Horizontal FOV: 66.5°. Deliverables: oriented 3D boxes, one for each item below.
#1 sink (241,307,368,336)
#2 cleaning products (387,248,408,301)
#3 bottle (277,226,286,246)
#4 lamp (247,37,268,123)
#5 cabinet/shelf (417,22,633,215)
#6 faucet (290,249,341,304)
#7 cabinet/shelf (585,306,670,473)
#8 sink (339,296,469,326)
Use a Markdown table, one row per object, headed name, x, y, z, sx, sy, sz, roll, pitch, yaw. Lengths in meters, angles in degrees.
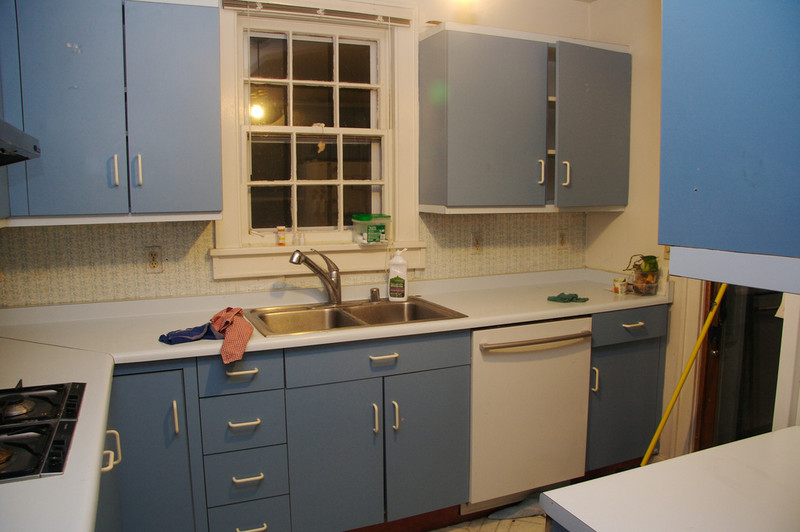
| name | x | y | z | sx | sy | sz | roll | pitch | yaw |
| --- | --- | --- | --- | --- | --- | --- | --- | --- | --- |
| sink | -0.516 | 0.289 | 3.274 | 0.333 | 0.128 | 0.276 | 0 | 4 | -27 |
| cleaning products | -0.016 | 0.057 | 3.499 | 0.117 | 0.287 | 0.134 | -4 | 9 | -4 |
| bottle | -0.676 | -0.173 | 3.481 | 0.059 | 0.106 | 0.117 | -5 | 10 | -10 |
| lamp | -0.802 | -1.041 | 3.419 | 0.087 | 0.455 | 0.034 | -4 | 9 | -7 |
| cabinet/shelf | 0.680 | -0.834 | 3.500 | 1.131 | 0.835 | 0.499 | -2 | 6 | -19 |
| faucet | -0.441 | 0.064 | 3.336 | 0.197 | 0.329 | 0.329 | -1 | 10 | 9 |
| cabinet/shelf | 1.228 | 0.658 | 3.813 | 0.508 | 0.996 | 0.639 | -5 | 12 | -18 |
| sink | -0.044 | 0.259 | 3.393 | 0.331 | 0.125 | 0.270 | -2 | 5 | -32 |
